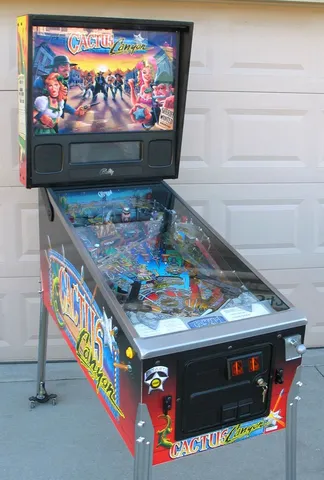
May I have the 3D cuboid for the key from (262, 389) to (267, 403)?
[{"bbox_3d":[0.275,0.420,1.090,0.016,0.038,0.008,2,0,-21],"label":"key"}]
